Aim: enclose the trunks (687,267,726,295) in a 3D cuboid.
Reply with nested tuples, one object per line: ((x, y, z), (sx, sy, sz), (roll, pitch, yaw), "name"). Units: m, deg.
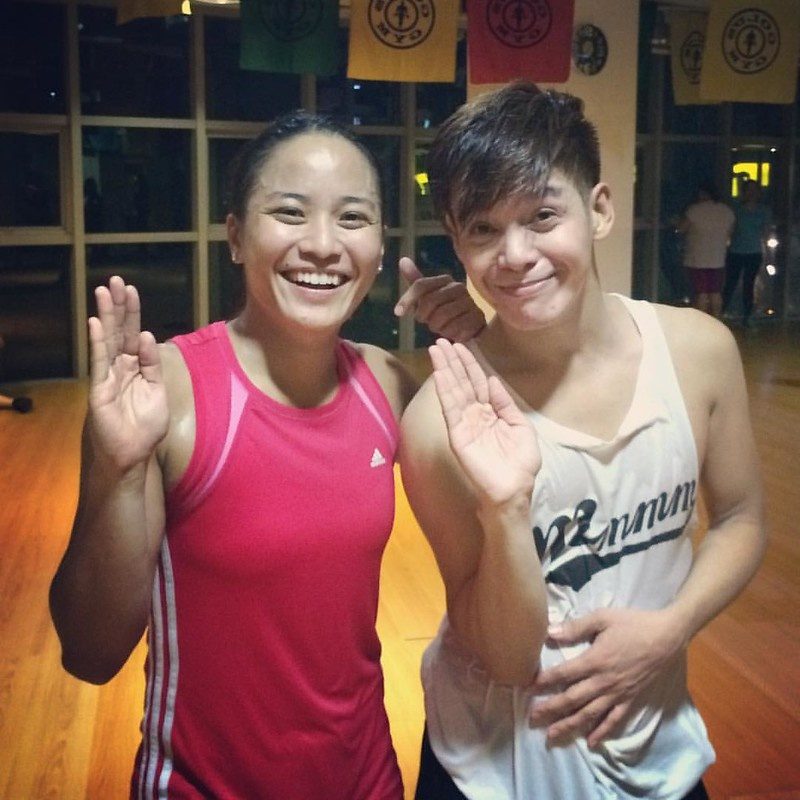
((2.542, -0.970, 6.733), (0.266, 0.306, 0.183), (0, -3, 5), "trunks")

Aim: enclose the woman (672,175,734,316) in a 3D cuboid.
((2.581, -1.251, 6.850), (0.344, 1.338, 0.364), (-3, 28, 14), "woman")

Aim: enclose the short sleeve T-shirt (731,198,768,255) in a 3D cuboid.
((3.043, -1.509, 7.094), (0.287, 0.492, 0.225), (-1, 22, -2), "short sleeve T-shirt")

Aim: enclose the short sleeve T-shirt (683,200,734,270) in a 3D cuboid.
((2.551, -1.365, 6.724), (0.387, 0.758, 0.322), (4, 5, 5), "short sleeve T-shirt")

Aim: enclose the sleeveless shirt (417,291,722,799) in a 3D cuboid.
((0.308, 0.203, 1.514), (0.488, 1.247, 0.553), (0, 1, -4), "sleeveless shirt")
